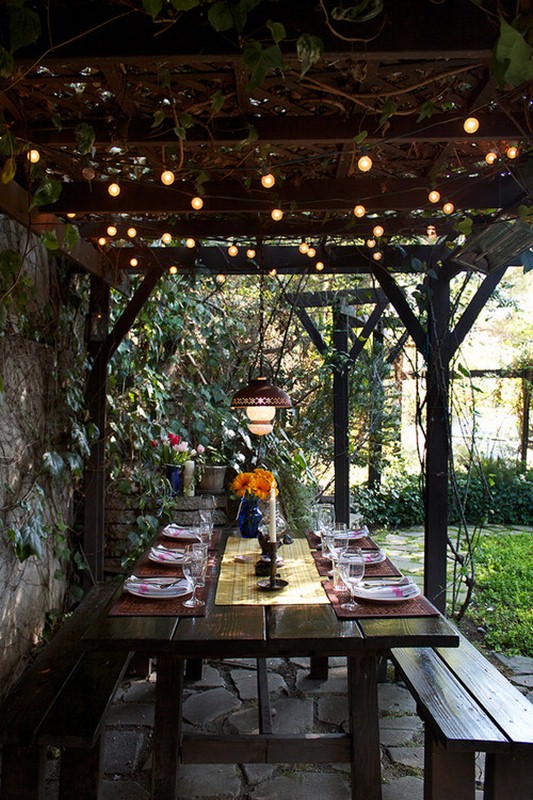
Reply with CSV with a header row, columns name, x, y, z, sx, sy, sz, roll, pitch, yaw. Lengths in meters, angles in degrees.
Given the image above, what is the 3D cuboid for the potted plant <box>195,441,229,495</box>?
name,x,y,z,sx,sy,sz,roll,pitch,yaw
potted plant,-0.443,0.548,4.566,0.335,0.275,0.319,0,-1,-14

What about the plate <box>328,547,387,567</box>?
name,x,y,z,sx,sy,sz,roll,pitch,yaw
plate,0.412,0.627,2.294,0.140,0.028,0.147,2,-3,-10

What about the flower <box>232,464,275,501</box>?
name,x,y,z,sx,sy,sz,roll,pitch,yaw
flower,-0.051,0.399,2.579,0.168,0.105,0.167,-13,23,-17
